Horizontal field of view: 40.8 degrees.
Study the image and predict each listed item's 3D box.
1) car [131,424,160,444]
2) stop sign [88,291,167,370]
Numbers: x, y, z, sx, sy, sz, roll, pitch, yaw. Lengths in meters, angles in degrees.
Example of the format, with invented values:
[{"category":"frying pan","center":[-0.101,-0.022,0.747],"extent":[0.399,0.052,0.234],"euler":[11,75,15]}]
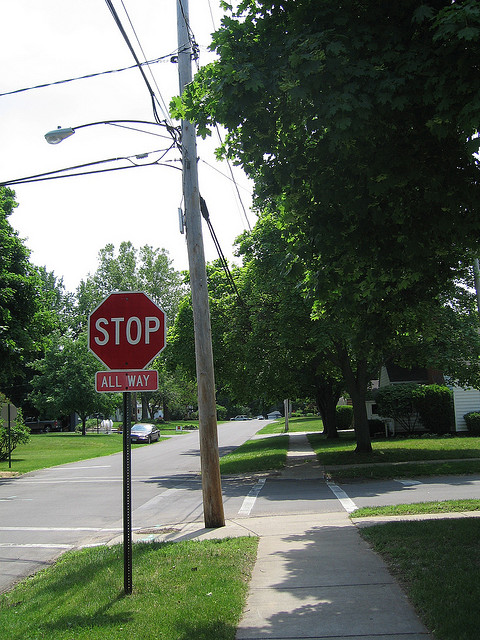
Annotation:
[{"category":"car","center":[-6.566,7.687,44.035],"extent":[1.093,0.774,2.494],"euler":[-1,-9,7]},{"category":"stop sign","center":[-1.176,0.107,6.627],"extent":[0.812,0.832,0.357],"euler":[-5,-7,-3]}]
